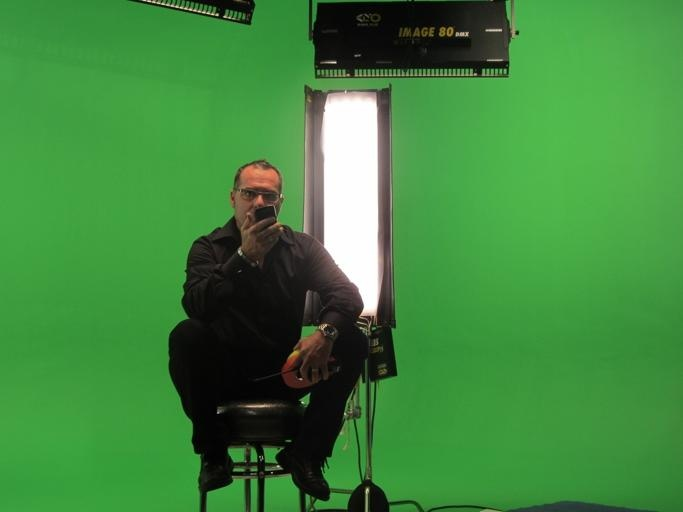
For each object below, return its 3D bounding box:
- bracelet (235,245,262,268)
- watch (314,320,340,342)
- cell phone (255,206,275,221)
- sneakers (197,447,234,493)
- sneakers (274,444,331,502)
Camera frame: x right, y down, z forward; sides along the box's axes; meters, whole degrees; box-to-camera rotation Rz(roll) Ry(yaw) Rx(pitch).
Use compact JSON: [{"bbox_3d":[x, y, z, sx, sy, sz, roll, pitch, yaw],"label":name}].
[{"bbox_3d":[-0.405,-0.003,3.049,0.093,0.087,0.048,2,-5,-14],"label":"bracelet"},{"bbox_3d":[-0.055,0.321,2.971,0.068,0.043,0.073,38,3,25],"label":"watch"},{"bbox_3d":[-0.321,-0.192,3.020,0.066,0.073,0.017,-12,11,-6],"label":"cell phone"},{"bbox_3d":[-0.507,0.886,2.880,0.136,0.179,0.135,2,-5,-11],"label":"sneakers"},{"bbox_3d":[-0.146,0.895,2.942,0.304,0.132,0.126,48,12,19],"label":"sneakers"}]
